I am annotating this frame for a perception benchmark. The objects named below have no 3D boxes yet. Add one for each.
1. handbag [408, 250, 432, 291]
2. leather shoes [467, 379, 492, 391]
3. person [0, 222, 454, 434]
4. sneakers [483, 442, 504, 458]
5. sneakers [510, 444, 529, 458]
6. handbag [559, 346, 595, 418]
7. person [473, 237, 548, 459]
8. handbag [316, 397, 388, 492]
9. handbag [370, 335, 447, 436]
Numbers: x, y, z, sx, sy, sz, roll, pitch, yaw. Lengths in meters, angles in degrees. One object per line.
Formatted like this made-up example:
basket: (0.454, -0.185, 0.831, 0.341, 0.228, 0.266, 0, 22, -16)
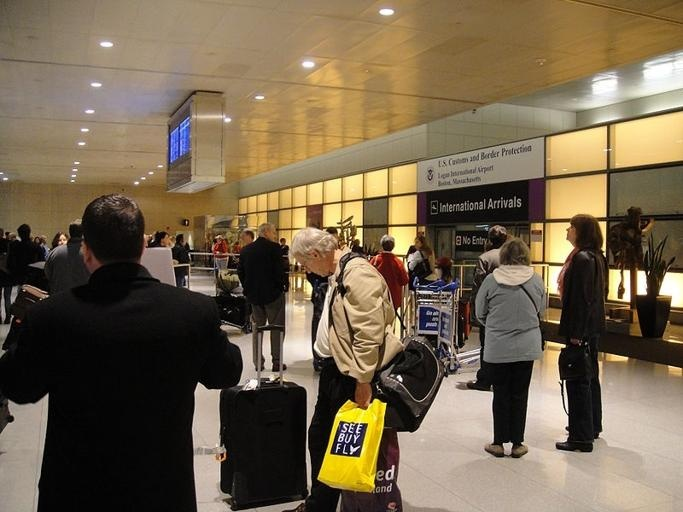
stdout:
handbag: (1.588, 0.293, 9.744, 0.483, 0.853, 0.671, -5, -1, 24)
leather shoes: (1.736, 1.635, 6.260, 0.117, 0.122, 0.275, 1, 2, -33)
person: (-0.265, 0.479, 2.322, 1.976, 0.903, 1.173, 2, -7, -10)
sneakers: (1.355, 1.702, 4.420, 0.080, 0.079, 0.192, -2, 6, -17)
sneakers: (1.553, 1.696, 4.336, 0.068, 0.090, 0.205, -3, 8, 37)
handbag: (2.118, 1.035, 4.496, 0.270, 0.544, 0.281, 2, 4, 23)
person: (1.502, 0.797, 4.423, 0.576, 1.901, 0.506, 1, 4, 8)
handbag: (0.060, 1.032, 2.762, 0.337, 0.460, 0.208, 2, 4, 15)
handbag: (0.486, 0.810, 3.014, 0.349, 0.474, 0.488, -13, -18, 21)
